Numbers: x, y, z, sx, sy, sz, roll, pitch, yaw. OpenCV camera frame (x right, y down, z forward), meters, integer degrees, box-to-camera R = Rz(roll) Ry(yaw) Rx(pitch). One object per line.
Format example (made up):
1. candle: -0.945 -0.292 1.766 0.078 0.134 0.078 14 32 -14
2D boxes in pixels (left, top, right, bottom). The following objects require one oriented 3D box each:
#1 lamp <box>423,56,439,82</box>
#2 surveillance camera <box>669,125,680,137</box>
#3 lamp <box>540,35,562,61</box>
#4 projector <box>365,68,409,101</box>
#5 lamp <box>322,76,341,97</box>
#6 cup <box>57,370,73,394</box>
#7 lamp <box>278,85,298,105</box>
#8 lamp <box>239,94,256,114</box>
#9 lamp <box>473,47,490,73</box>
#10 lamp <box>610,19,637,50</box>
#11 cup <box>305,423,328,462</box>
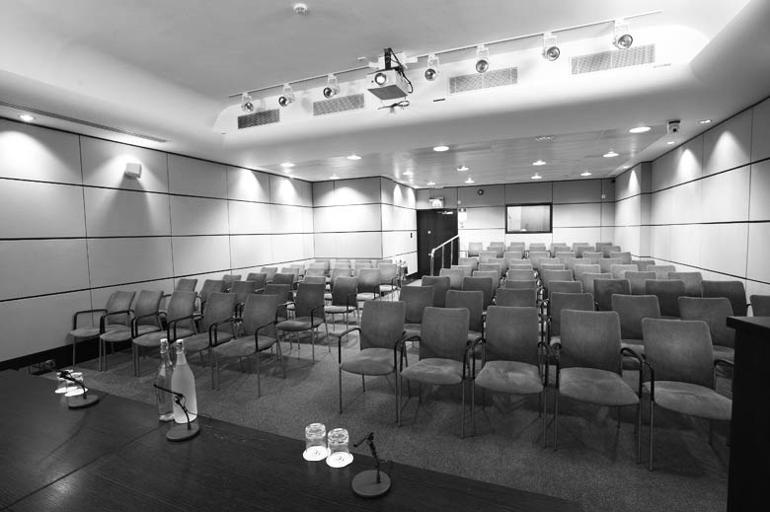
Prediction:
1. lamp: 0.671 -2.721 7.085 0.179 0.339 0.214 1 14 3
2. surveillance camera: 4.958 -2.173 8.515 0.190 0.088 0.249 -1 2 6
3. lamp: 2.225 -2.819 6.679 0.205 0.294 0.241 5 15 17
4. projector: 0.065 -2.492 7.155 0.411 0.379 0.633 6 15 21
5. lamp: -0.812 -2.644 7.596 0.192 0.290 0.287 6 -28 -6
6. cup: -3.009 1.200 4.668 0.168 0.177 0.170 5 6 -1
7. lamp: -1.538 -2.567 7.898 0.326 0.327 0.205 -3 10 3
8. lamp: -2.228 -2.478 8.136 0.222 0.404 0.293 -6 9 -2
9. lamp: 1.359 -2.772 6.921 0.170 0.325 0.267 3 15 9
10. lamp: 3.053 -2.894 6.395 0.225 0.352 0.233 7 16 22
11. cup: -0.551 1.542 4.131 0.243 0.240 0.256 0 3 0
